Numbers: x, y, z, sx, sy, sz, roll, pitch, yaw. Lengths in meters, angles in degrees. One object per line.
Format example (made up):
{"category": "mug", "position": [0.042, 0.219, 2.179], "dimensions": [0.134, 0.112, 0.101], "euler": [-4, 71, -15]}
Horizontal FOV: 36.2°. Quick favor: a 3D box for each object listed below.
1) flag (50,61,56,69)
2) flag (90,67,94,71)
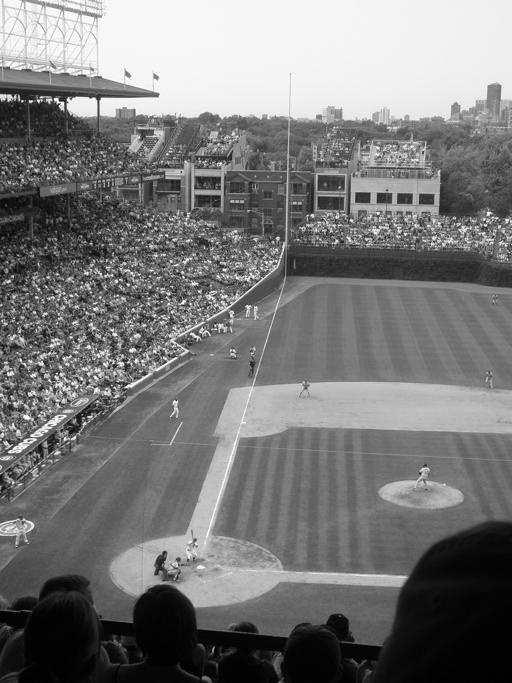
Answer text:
{"category": "flag", "position": [-14.455, -19.399, 55.641], "dimensions": [0.359, 0.437, 1.126], "euler": [-2, 12, -10]}
{"category": "flag", "position": [-12.854, -20.872, 61.224], "dimensions": [0.234, 0.291, 0.554], "euler": [0, 11, -4]}
